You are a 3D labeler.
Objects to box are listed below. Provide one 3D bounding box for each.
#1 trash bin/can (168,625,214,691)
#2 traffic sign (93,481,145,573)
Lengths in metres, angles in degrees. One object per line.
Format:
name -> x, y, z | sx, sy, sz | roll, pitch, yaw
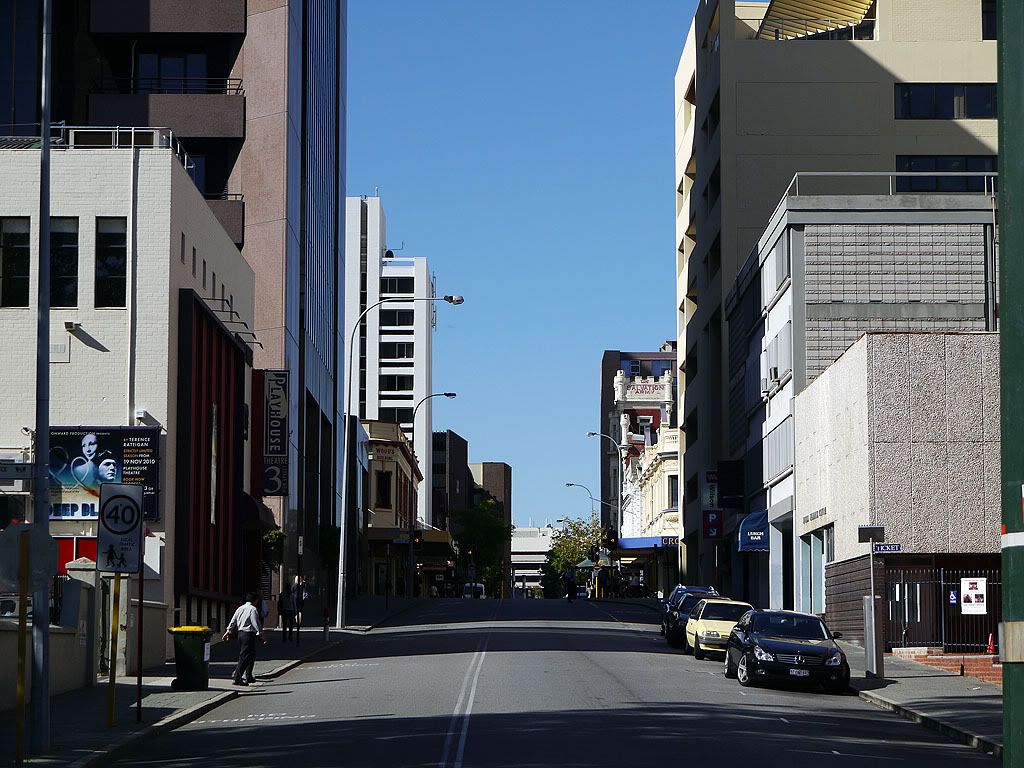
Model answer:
trash bin/can -> -7.273, 6.020, 36.935 | 1.107, 1.951, 1.091 | -1, -1, -5
traffic sign -> -7.517, 2.730, 31.118 | 0.842, 1.876, 0.177 | 6, -31, -19
